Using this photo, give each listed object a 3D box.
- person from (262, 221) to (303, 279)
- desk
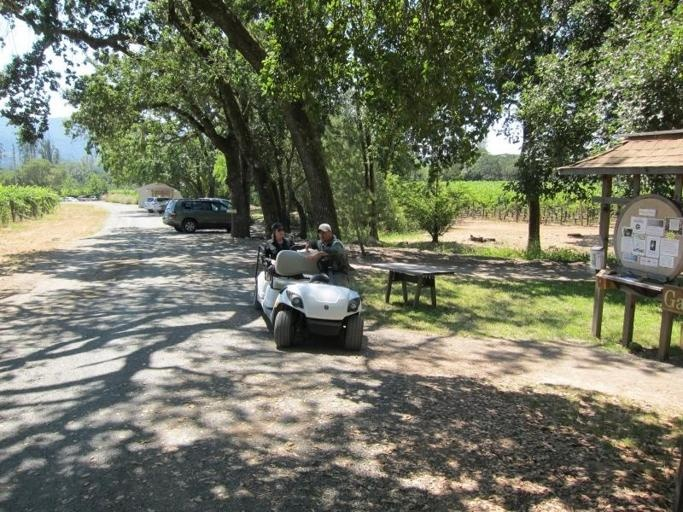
[{"bbox_3d":[-1.260,-0.188,10.818,0.749,1.049,0.592,-9,-23,-10],"label":"person"},{"bbox_3d":[1.670,0.740,12.327,0.892,0.951,1.869,-5,9,-35],"label":"desk"}]
